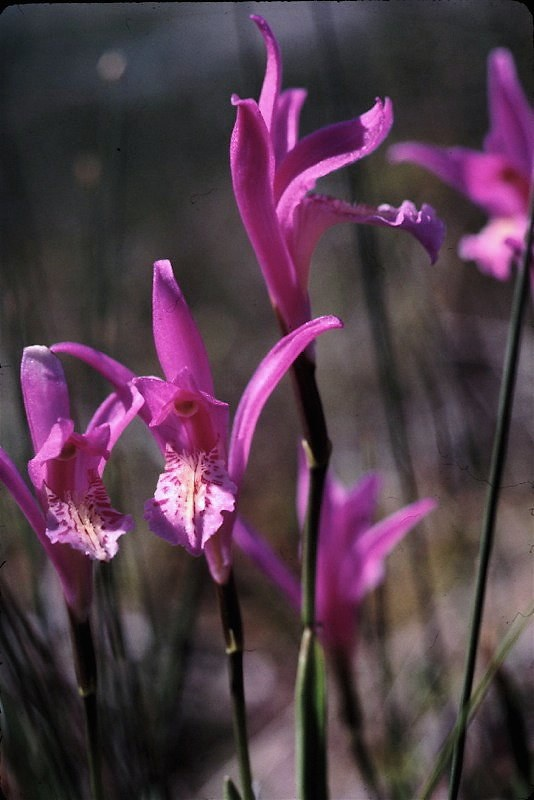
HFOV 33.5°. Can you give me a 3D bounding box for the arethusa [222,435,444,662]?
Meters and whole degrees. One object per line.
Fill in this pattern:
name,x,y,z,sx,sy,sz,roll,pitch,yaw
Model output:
arethusa,0.040,0.110,0.633,0.137,0.130,0.127,5,-15,-15
